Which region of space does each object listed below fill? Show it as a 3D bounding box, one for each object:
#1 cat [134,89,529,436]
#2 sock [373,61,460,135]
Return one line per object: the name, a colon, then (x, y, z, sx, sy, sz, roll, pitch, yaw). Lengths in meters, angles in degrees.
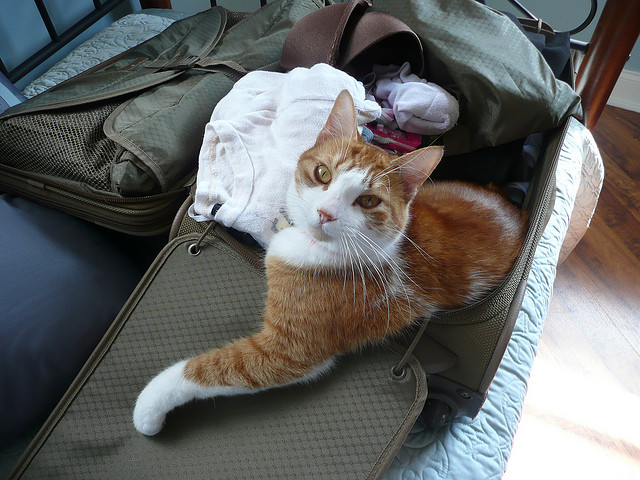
cat: (0.033, 0.031, 1.146, 0.898, 0.590, 0.357, -5, 43, -18)
sock: (0.248, -0.333, 1.331, 0.155, 0.172, 0.208, -8, 43, -29)
